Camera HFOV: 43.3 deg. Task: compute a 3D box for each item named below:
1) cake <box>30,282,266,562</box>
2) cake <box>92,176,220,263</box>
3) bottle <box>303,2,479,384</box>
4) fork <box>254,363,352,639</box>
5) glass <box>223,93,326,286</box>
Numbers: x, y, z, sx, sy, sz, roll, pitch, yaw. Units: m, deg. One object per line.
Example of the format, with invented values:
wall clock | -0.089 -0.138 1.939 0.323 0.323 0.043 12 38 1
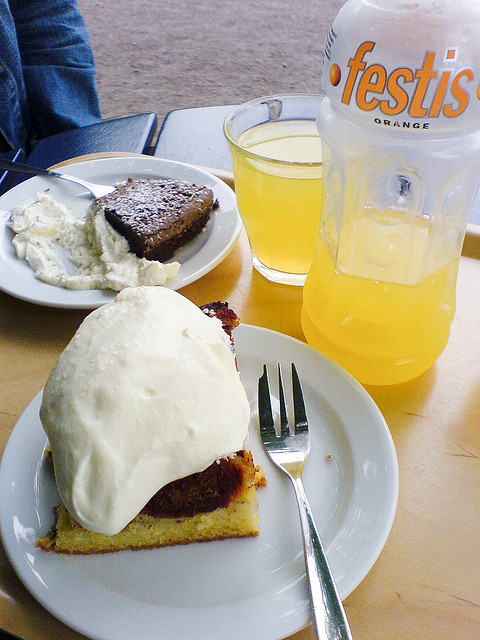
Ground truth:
cake | -0.094 0.074 0.582 0.207 0.088 0.286 3 39 -10
cake | -0.133 -0.197 1.020 0.167 0.057 0.171 2 38 10
bottle | 0.151 -0.106 0.616 0.180 0.393 0.151 13 52 14
fork | 0.052 0.147 0.589 0.033 0.034 0.286 1 47 -12
glass | 0.048 -0.165 0.845 0.162 0.229 0.143 7 48 11
